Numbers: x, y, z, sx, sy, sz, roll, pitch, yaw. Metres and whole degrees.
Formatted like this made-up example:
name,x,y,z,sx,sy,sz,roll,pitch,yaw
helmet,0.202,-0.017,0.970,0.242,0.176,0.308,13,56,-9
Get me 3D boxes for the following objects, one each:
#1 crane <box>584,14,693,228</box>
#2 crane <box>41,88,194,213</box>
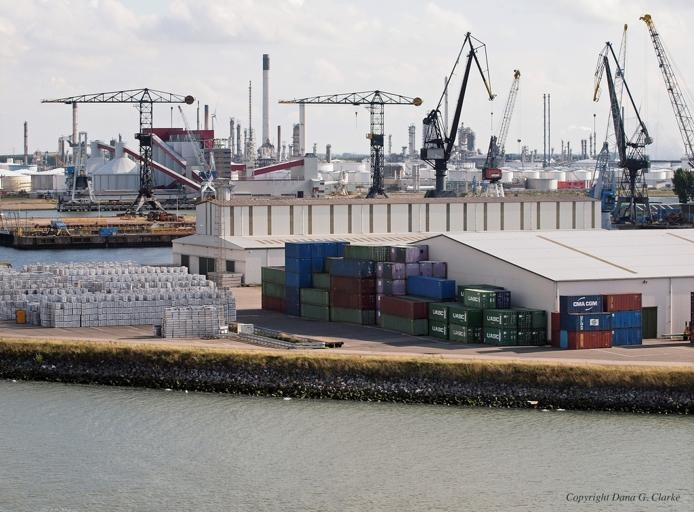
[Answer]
name,x,y,z,sx,sy,sz,roll,pitch,yaw
crane,22.154,-6.416,145.833,2.781,19.412,9.965,-4,7,-30
crane,-20.368,-9.840,170.333,14.446,10.786,3.630,0,7,9
